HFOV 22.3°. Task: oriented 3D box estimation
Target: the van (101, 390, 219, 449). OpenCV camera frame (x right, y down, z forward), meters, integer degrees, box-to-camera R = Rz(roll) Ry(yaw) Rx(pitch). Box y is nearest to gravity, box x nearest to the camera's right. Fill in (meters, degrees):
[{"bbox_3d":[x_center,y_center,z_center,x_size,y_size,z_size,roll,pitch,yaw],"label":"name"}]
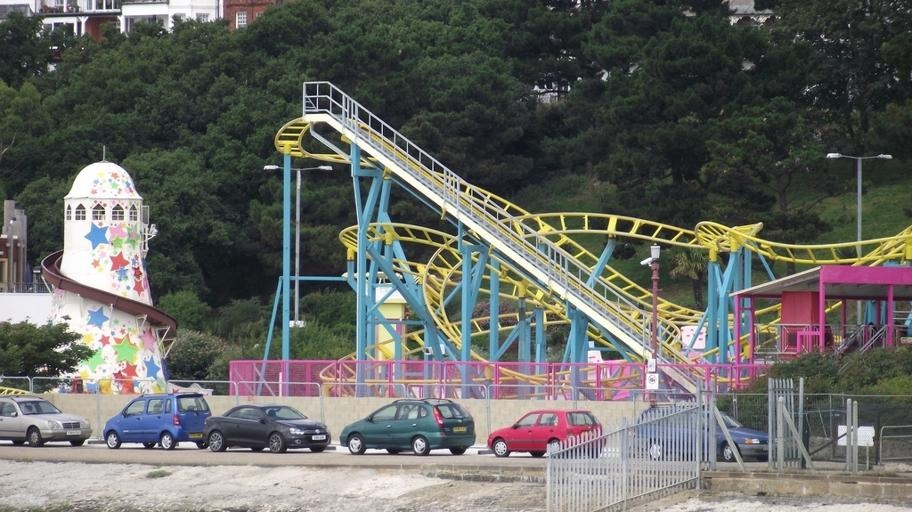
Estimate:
[{"bbox_3d":[-21.809,12.075,171.279,7.437,4.104,4.266,-2,-7,16],"label":"van"}]
